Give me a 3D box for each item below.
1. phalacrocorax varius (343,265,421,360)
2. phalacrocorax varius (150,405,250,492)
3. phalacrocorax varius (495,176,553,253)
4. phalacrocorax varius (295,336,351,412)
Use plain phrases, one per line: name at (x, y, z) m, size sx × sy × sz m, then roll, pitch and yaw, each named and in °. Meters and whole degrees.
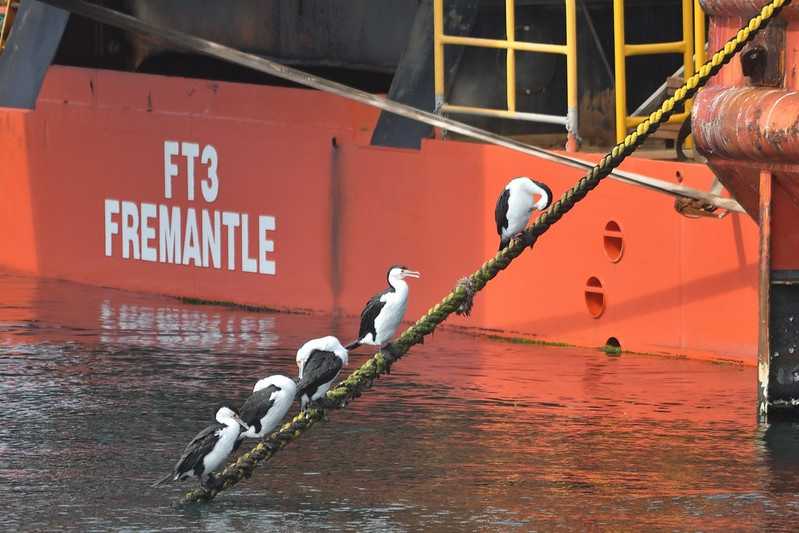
phalacrocorax varius at (-0.170, 0.359, 17.743) m, size 0.941 × 0.715 × 0.351 m, roll -6°, pitch -2°, yaw 26°
phalacrocorax varius at (-1.665, 1.471, 16.977) m, size 0.928 × 0.619 × 0.312 m, roll -6°, pitch -6°, yaw 0°
phalacrocorax varius at (1.102, -0.471, 18.489) m, size 0.733 × 0.647 × 0.368 m, roll -11°, pitch -9°, yaw 42°
phalacrocorax varius at (-0.714, 0.898, 17.242) m, size 0.281 × 0.335 × 0.818 m, roll 16°, pitch -35°, yaw -17°
